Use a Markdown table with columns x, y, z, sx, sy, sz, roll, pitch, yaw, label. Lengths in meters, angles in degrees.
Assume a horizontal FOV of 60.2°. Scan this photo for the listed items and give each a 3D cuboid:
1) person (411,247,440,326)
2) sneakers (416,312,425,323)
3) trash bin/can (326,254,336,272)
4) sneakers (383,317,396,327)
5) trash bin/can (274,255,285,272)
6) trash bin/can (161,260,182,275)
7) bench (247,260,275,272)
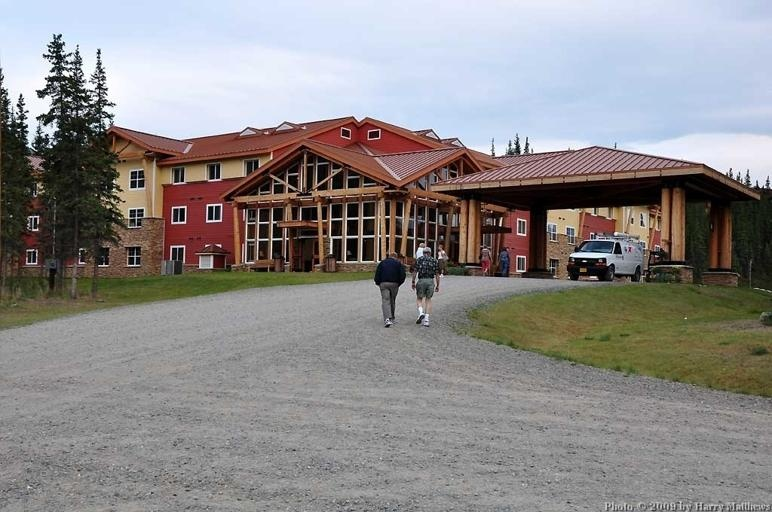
| x | y | z | sx | sy | sz | roll | pitch | yaw | label |
| --- | --- | --- | --- | --- | --- | --- | --- | --- | --- |
| 1.142 | 0.847 | 19.056 | 0.699 | 2.141 | 1.315 | 4 | 7 | 3 | person |
| 1.001 | 1.790 | 18.879 | 0.165 | 0.345 | 0.157 | 21 | 12 | -22 | sneakers |
| -3.466 | 0.422 | 41.932 | 0.756 | 1.009 | 0.611 | 7 | 8 | 31 | trash bin/can |
| 0.102 | 1.840 | 18.493 | 0.255 | 0.247 | 0.635 | -2 | -5 | -6 | sneakers |
| -7.176 | 0.501 | 44.744 | 0.619 | 0.940 | 1.017 | 2 | 7 | -10 | trash bin/can |
| -15.570 | 0.858 | 48.595 | 1.332 | 0.856 | 1.253 | -1 | -1 | 27 | trash bin/can |
| -8.366 | 0.720 | 44.888 | 2.228 | 0.715 | 0.484 | 0 | 7 | 29 | bench |
